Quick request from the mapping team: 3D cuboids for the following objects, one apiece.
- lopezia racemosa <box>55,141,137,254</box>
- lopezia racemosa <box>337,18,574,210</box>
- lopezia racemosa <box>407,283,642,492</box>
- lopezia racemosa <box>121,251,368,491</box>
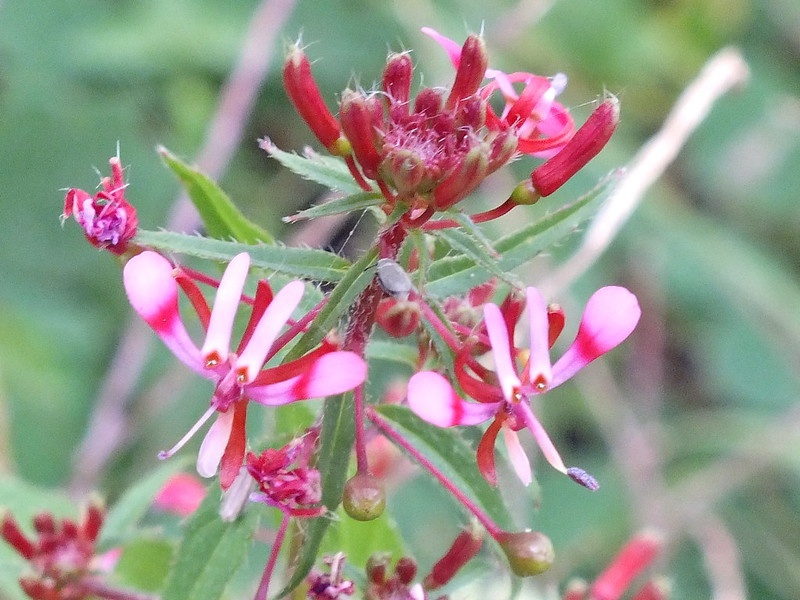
[{"bbox_3d":[-1.304,-0.377,3.971,0.296,0.238,0.325,-19,64,-18],"label":"lopezia racemosa"},{"bbox_3d":[0.266,-0.747,3.930,1.040,0.485,0.715,-32,68,-23],"label":"lopezia racemosa"},{"bbox_3d":[0.429,0.386,3.698,0.779,0.819,0.464,-4,104,-9],"label":"lopezia racemosa"},{"bbox_3d":[-0.637,0.203,3.806,0.782,0.658,0.879,-21,64,-18],"label":"lopezia racemosa"}]
